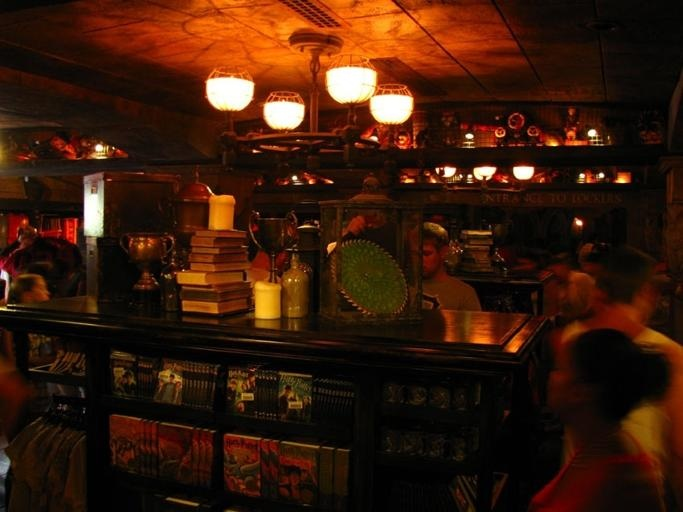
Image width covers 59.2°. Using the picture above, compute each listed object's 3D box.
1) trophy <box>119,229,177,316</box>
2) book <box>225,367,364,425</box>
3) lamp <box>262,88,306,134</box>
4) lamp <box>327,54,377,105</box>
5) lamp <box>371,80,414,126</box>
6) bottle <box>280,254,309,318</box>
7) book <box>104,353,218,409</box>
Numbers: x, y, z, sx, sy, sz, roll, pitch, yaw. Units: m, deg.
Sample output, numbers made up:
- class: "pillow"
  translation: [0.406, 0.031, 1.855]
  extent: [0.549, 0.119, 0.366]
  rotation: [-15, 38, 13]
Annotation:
- class: "trophy"
  translation: [-1.127, 0.094, 3.718]
  extent: [0.342, 0.587, 0.296]
  rotation: [10, 10, 38]
- class: "book"
  translation: [-0.276, 0.731, 3.131]
  extent: [0.473, 0.138, 0.330]
  rotation: [1, -3, 28]
- class: "lamp"
  translation: [-0.607, -1.405, 5.868]
  extent: [0.524, 0.495, 0.536]
  rotation: [0, 5, -18]
- class: "lamp"
  translation: [0.102, -1.585, 5.508]
  extent: [0.535, 0.445, 0.490]
  rotation: [0, 3, 2]
- class: "lamp"
  translation: [0.499, -1.490, 5.889]
  extent: [0.451, 0.370, 0.424]
  rotation: [0, 6, 1]
- class: "bottle"
  translation: [-0.255, 0.185, 3.359]
  extent: [0.123, 0.296, 0.137]
  rotation: [6, 5, 21]
- class: "book"
  translation: [-1.021, 0.705, 3.404]
  extent: [0.555, 0.278, 0.259]
  rotation: [4, 6, -7]
